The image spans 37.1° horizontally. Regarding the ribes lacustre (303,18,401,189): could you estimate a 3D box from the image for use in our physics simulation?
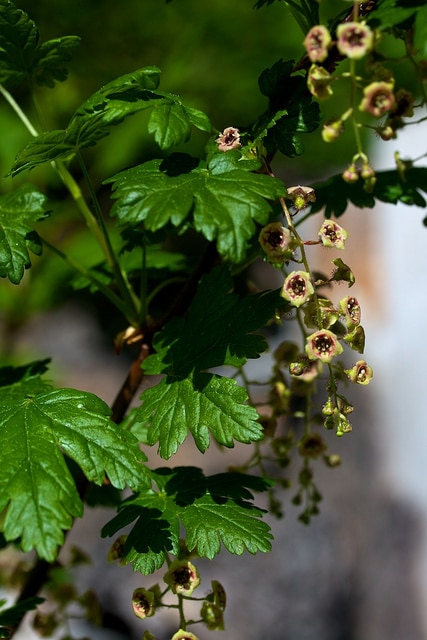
[{"bbox_3d":[0.207,-0.334,0.878,0.113,0.296,0.099,-4,-28,-4],"label":"ribes lacustre"}]
